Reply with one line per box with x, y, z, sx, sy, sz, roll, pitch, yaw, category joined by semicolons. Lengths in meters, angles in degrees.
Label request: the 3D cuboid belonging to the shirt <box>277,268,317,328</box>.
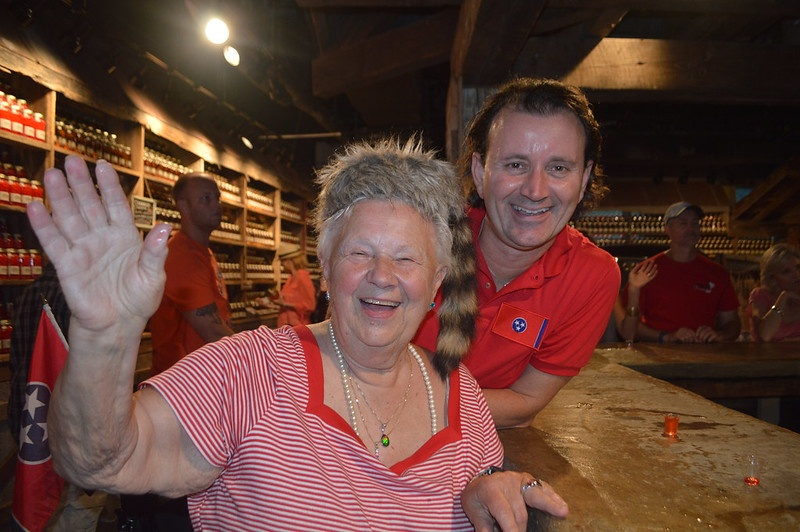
-1.596;0.468;8.411;0.365;1.032;0.732;-3;17;-25;shirt

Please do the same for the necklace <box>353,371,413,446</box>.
-0.093;0.652;2.510;0.297;0.379;0.040;1;-2;-7;necklace

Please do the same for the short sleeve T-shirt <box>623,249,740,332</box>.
2.916;0.300;5.625;1.013;0.828;0.550;-1;9;30;short sleeve T-shirt

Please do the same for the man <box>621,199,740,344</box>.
2.828;0.103;5.451;1.140;1.545;0.939;2;4;18;man

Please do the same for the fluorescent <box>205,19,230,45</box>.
-1.844;-2.310;5.430;0.205;0.223;0.050;-16;18;-12;fluorescent

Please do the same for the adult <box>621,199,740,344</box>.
2.825;0.107;5.451;1.136;1.522;0.929;2;1;15;adult

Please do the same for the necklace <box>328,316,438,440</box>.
-0.100;0.451;2.657;0.465;0.050;0.723;12;-37;19;necklace

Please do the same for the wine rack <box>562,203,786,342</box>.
2.520;0.290;5.691;1.705;2.104;1.493;-1;-4;8;wine rack

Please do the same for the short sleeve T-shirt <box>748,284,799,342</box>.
3.864;0.471;5.664;0.311;0.546;0.499;-2;-2;-5;short sleeve T-shirt
